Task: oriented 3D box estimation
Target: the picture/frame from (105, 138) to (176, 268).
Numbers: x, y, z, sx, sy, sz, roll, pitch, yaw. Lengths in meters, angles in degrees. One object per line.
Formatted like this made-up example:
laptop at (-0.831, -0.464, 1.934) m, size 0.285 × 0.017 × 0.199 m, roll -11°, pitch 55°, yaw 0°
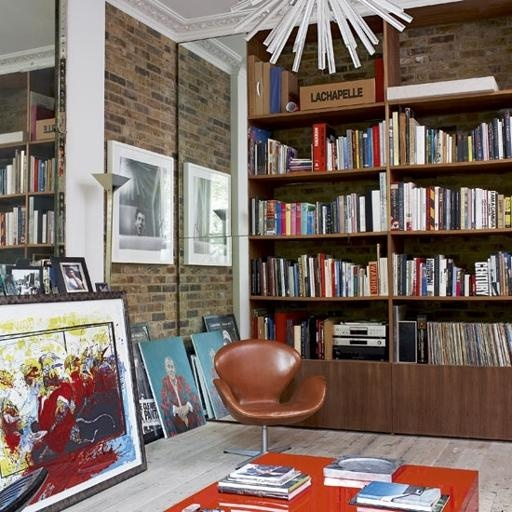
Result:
picture/frame at (-0.935, -0.418, 3.815) m, size 0.055 × 1.117 × 1.098 m, roll -2°, pitch -5°, yaw 26°
